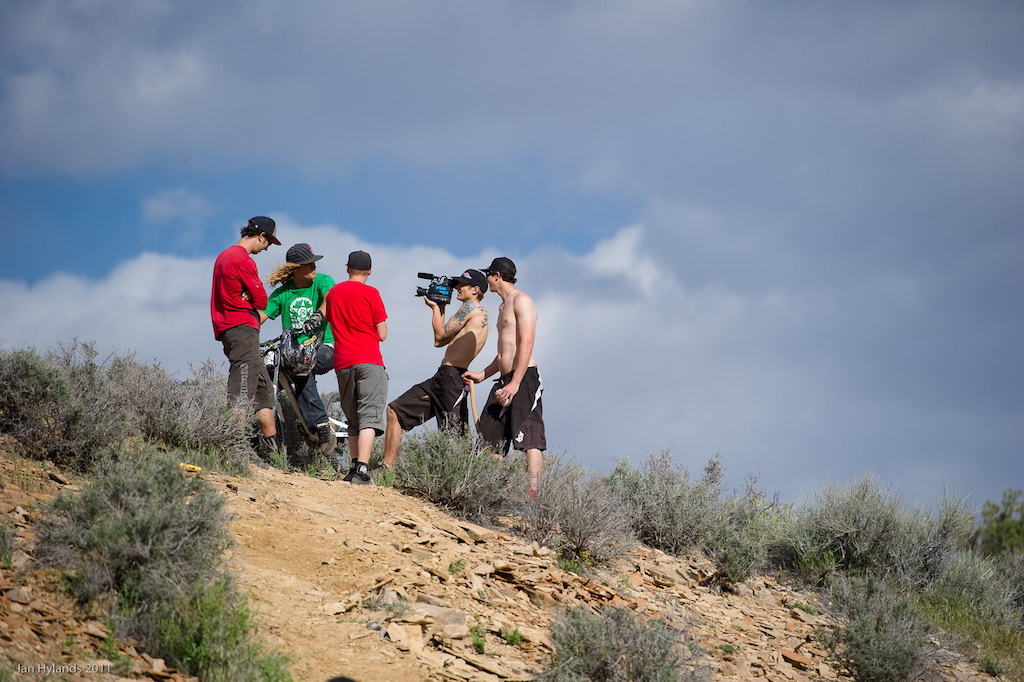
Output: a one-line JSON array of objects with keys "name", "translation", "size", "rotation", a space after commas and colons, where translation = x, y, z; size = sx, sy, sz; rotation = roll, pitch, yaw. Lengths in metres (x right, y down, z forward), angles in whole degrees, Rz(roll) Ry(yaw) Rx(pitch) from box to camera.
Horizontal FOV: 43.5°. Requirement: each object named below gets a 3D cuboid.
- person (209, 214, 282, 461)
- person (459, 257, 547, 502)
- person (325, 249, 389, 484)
[{"name": "person", "translation": [-3.754, -0.071, 17.992], "size": [1.050, 3.180, 0.763], "rotation": [6, -2, -20]}, {"name": "person", "translation": [-0.018, 0.475, 18.041], "size": [1.068, 2.740, 0.727], "rotation": [5, -2, 4]}, {"name": "person", "translation": [-2.161, 0.349, 17.874], "size": [0.954, 2.873, 0.377], "rotation": [4, -2, 24]}]
